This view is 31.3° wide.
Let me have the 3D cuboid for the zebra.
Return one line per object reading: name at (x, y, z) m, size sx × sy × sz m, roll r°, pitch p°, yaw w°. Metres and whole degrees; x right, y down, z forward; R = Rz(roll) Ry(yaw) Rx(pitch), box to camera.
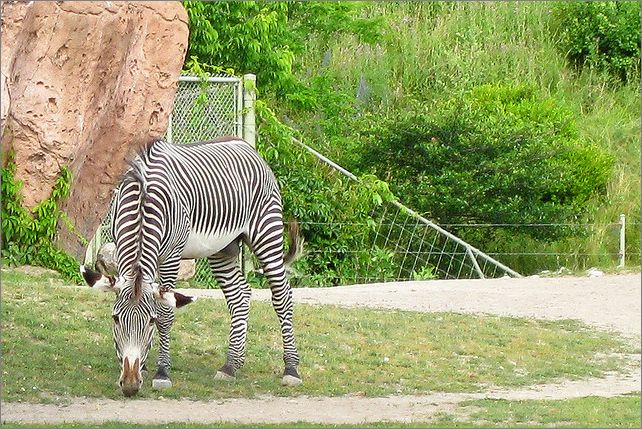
zebra at (-1.831, 0.713, 16.756) m, size 3.061 × 3.496 × 1.541 m, roll -10°, pitch 19°, yaw -41°
